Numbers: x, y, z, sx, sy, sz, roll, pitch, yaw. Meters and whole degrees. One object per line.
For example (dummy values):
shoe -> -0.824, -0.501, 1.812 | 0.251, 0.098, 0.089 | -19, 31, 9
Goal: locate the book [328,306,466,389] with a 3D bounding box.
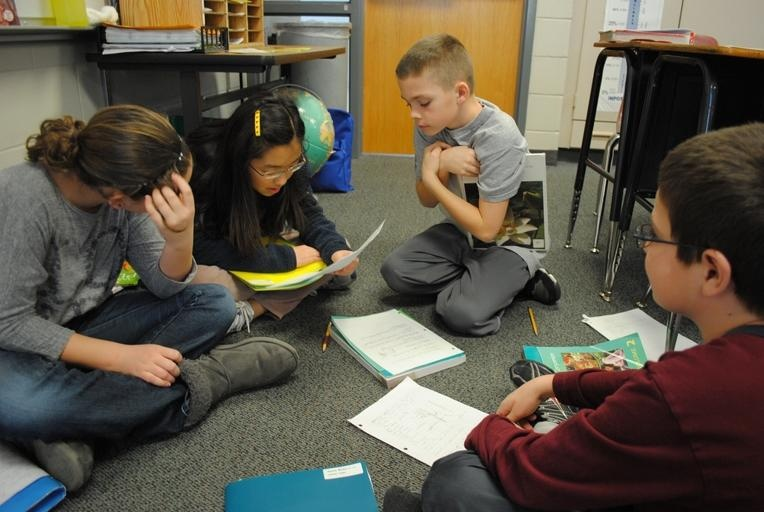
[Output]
book -> 0.036, 0.277, 1.662 | 0.262, 0.043, 0.247 | -13, 33, -34

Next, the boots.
boots -> -0.321, 0.336, 1.452 | 0.382, 0.126, 0.226 | -14, 19, 5

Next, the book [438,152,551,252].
book -> 0.395, -0.194, 1.852 | 0.433, 0.454, 0.047 | 0, 30, 0

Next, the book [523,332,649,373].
book -> 0.642, 0.303, 1.611 | 0.245, 0.068, 0.174 | 3, 21, -4

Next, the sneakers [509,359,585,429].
sneakers -> 0.415, 0.359, 1.399 | 0.227, 0.074, 0.088 | 26, -9, 18

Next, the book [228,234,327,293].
book -> -0.294, 0.048, 1.703 | 0.214, 0.071, 0.216 | 24, 24, 35

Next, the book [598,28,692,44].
book -> 0.939, -0.770, 1.865 | 0.280, 0.050, 0.573 | 8, 26, 16

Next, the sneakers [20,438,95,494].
sneakers -> -0.725, 0.479, 1.215 | 0.152, 0.108, 0.036 | 32, -16, -1

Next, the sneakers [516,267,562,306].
sneakers -> 0.578, 0.114, 2.002 | 0.105, 0.074, 0.225 | -25, 4, -2
